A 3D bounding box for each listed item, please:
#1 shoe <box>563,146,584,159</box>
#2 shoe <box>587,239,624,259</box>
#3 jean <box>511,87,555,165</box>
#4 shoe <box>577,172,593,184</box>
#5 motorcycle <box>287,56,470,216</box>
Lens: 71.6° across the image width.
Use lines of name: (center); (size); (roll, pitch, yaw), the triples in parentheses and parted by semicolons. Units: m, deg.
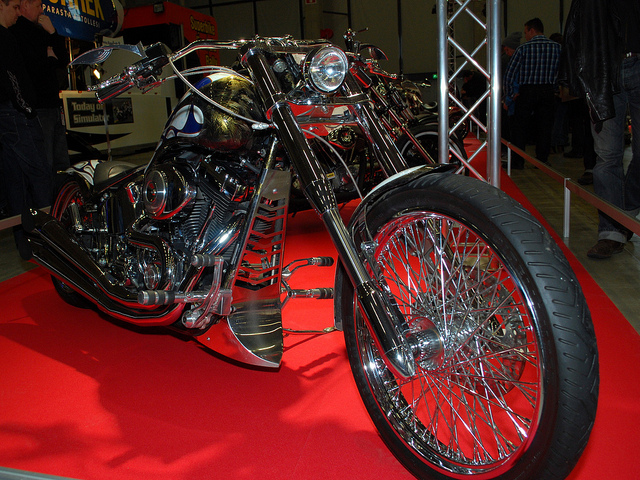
shoe: (4.570, -1.565, 8.060); (0.303, 0.149, 0.514); (7, 20, 26)
shoe: (2.128, 0.069, 3.336); (0.295, 0.133, 0.118); (-4, 8, -17)
jean: (3.267, -1.766, 6.886); (0.561, 1.120, 0.421); (7, 19, 26)
shoe: (3.311, -0.775, 5.567); (0.121, 0.137, 0.370); (6, 20, 23)
motorcycle: (0.556, -0.768, 3.906); (1.686, 1.162, 1.162); (-11, 15, -6)
